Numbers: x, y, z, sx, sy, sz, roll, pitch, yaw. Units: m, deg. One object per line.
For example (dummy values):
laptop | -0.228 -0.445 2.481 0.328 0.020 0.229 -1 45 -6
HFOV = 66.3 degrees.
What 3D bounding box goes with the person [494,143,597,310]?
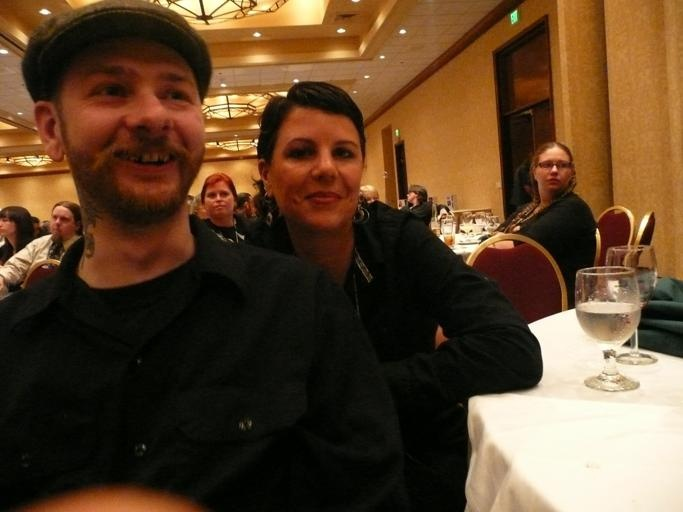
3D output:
person | 1.311 -0.106 3.313 0.587 1.068 0.515 -8 10 -9
